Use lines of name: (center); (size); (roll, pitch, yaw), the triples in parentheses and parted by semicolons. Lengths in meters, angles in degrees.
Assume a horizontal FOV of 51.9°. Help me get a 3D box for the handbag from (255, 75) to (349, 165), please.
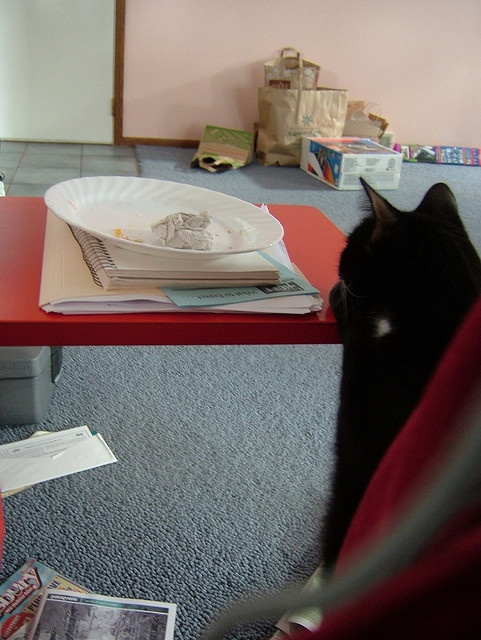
handbag: (0.381, -1.197, 3.030); (0.583, 0.399, 0.310); (-11, 32, -20)

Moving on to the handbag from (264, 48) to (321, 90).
handbag: (0.302, -1.480, 2.881); (0.299, 0.242, 0.106); (8, 59, 13)

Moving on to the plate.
plate: (-0.117, -0.147, 0.656); (0.202, 0.020, 0.194); (-9, 33, -35)
